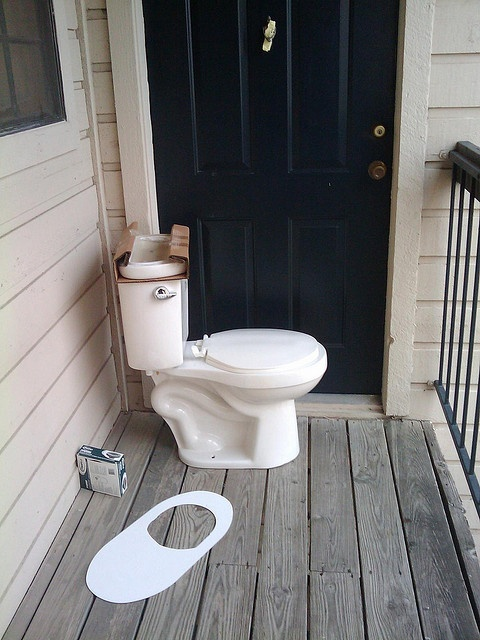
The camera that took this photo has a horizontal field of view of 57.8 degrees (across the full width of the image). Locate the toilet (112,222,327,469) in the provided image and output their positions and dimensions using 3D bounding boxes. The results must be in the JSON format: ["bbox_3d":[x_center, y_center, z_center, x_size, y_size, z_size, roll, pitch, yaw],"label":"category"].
[{"bbox_3d":[-0.051,0.071,1.609,0.666,1.038,0.496,-4,26,-4],"label":"toilet"}]
